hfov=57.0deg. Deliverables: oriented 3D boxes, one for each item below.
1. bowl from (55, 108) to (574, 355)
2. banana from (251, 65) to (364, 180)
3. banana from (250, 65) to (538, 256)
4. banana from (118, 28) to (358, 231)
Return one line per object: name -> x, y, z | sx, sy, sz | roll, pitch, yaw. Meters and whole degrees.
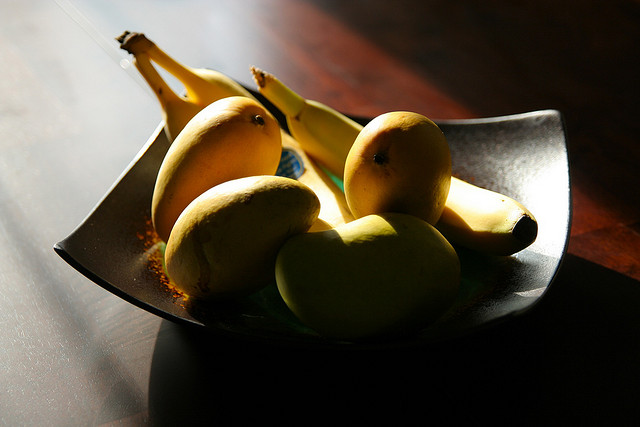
bowl -> 0.009, 0.038, 0.683 | 0.436, 0.112, 0.368 | 9, 41, 9
banana -> 0.029, -0.121, 0.861 | 0.279, 0.103, 0.076 | 12, -10, -36
banana -> 0.100, -0.063, 0.754 | 0.342, 0.114, 0.074 | 35, 34, -8
banana -> -0.074, -0.133, 0.917 | 0.481, 0.180, 0.138 | 8, 27, -39
